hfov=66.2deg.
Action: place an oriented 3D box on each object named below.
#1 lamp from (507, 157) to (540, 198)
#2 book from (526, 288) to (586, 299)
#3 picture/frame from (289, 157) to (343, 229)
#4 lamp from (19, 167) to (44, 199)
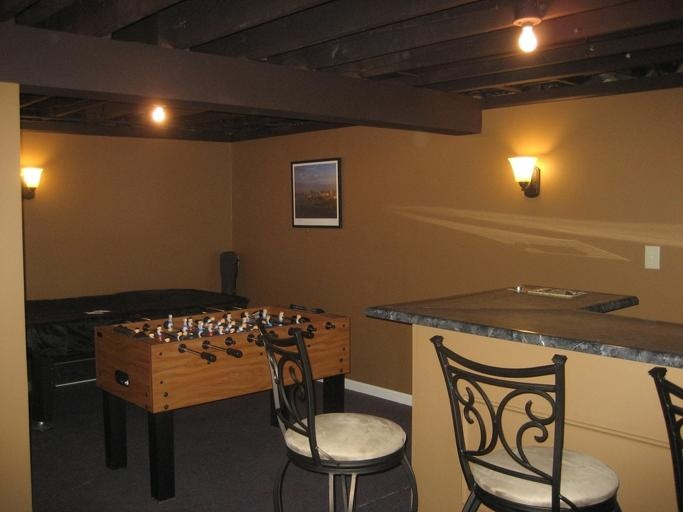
[{"bbox_3d":[1.488,-0.635,4.230,0.222,0.349,0.196,4,8,35],"label":"lamp"},{"bbox_3d":[1.376,0.238,3.339,0.350,0.018,0.342,2,6,21],"label":"book"},{"bbox_3d":[-0.263,-0.707,5.838,0.810,0.827,0.056,4,6,43],"label":"picture/frame"},{"bbox_3d":[-3.363,-0.796,5.699,0.204,0.367,0.276,-4,7,-29],"label":"lamp"}]
